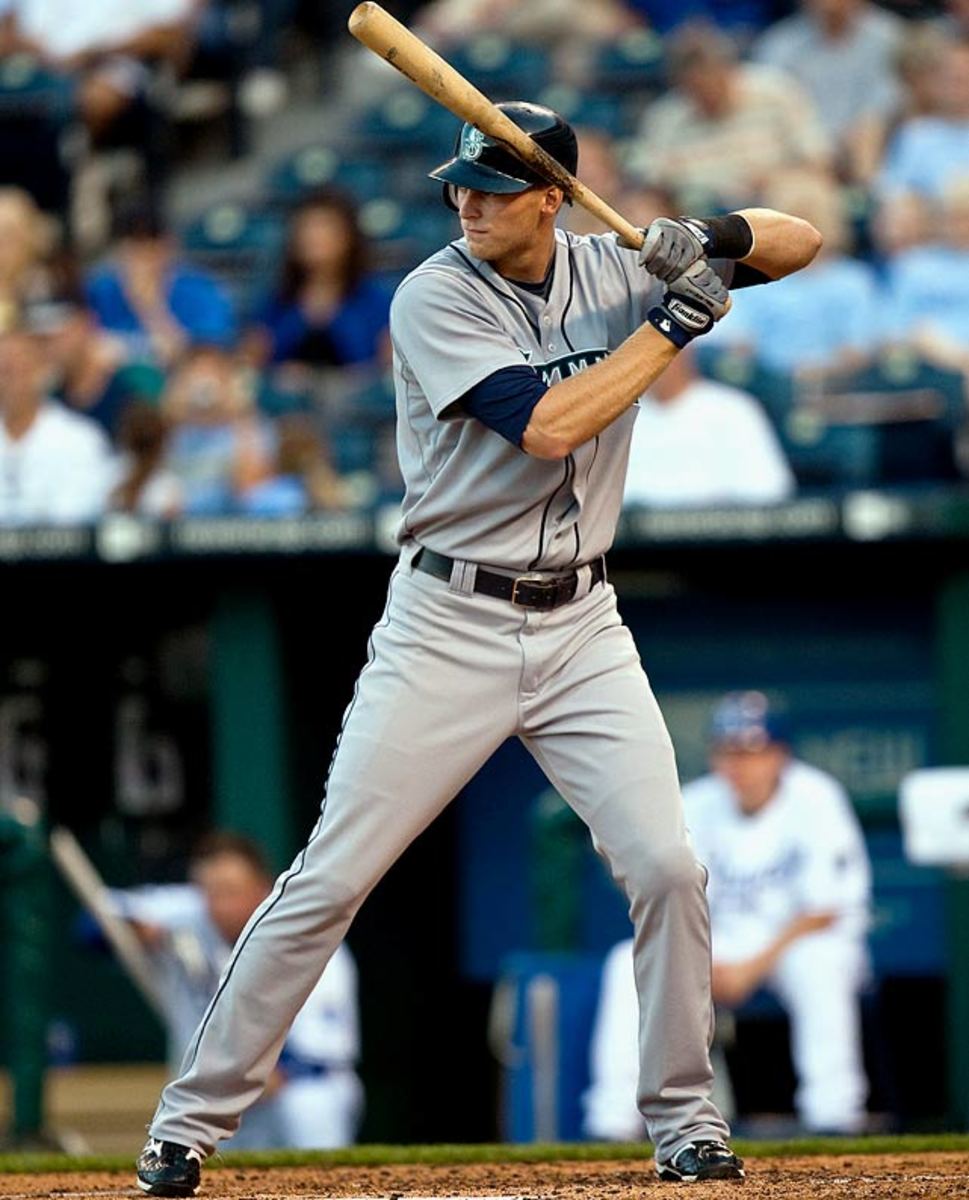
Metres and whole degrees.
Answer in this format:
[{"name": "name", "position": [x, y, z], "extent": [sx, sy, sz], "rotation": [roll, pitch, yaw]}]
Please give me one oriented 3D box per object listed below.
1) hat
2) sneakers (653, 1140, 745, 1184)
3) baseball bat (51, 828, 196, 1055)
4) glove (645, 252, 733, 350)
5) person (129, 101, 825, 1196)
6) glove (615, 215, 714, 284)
[{"name": "hat", "position": [0.036, -0.781, 3.975], "extent": [0.234, 0.110, 0.176], "rotation": [-2, 14, -41]}, {"name": "sneakers", "position": [0.374, 0.967, 3.933], "extent": [0.128, 0.047, 0.065], "rotation": [-13, -13, 36]}, {"name": "baseball bat", "position": [-1.018, 0.938, 6.430], "extent": [0.117, 0.824, 0.118], "rotation": [-17, -28, -43]}, {"name": "glove", "position": [0.373, -0.517, 3.986], "extent": [0.095, 0.155, 0.240], "rotation": [-7, -1, 34]}, {"name": "person", "position": [0.028, 0.074, 4.040], "extent": [1.305, 1.918, 0.466], "rotation": [-6, 0, -3]}, {"name": "glove", "position": [0.322, -0.615, 3.986], "extent": [0.139, 0.102, 0.060], "rotation": [-18, -11, -33]}]
